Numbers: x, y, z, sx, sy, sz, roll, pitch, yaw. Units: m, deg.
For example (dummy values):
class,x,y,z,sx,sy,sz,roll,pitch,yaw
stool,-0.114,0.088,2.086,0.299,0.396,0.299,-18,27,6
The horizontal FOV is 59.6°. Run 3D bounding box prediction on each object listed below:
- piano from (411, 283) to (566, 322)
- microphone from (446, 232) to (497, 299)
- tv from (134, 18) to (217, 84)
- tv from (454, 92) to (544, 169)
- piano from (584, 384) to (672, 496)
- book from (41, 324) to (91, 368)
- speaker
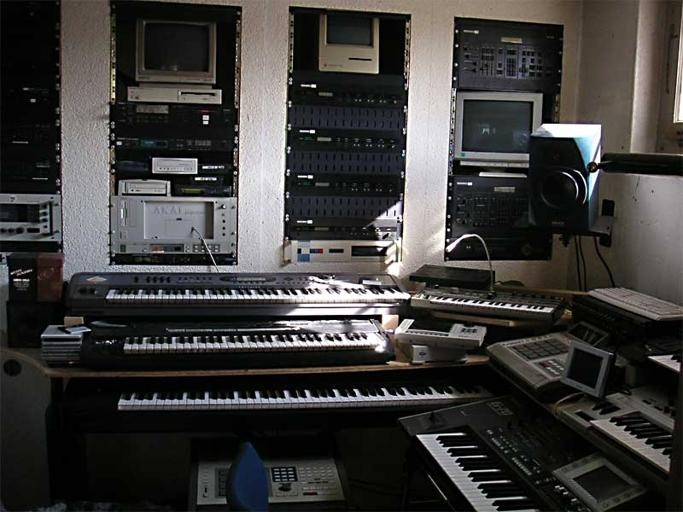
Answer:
class,x,y,z,sx,sy,sz,roll,pitch,yaw
piano,0.873,0.268,3.588,0.877,0.156,0.362,1,9,18
microphone,0.816,0.072,3.790,0.321,0.462,0.073,-2,28,6
tv,-0.983,-1.255,3.761,0.523,0.438,0.296,5,7,8
tv,1.026,-0.847,4.074,0.586,0.484,0.337,2,6,4
piano,1.209,0.740,2.475,0.268,0.108,0.402,-10,32,0
book,-1.485,0.483,3.193,0.181,0.113,0.234,-1,7,-7
speaker,1.271,-0.435,3.415,0.383,0.541,0.412,10,20,42
